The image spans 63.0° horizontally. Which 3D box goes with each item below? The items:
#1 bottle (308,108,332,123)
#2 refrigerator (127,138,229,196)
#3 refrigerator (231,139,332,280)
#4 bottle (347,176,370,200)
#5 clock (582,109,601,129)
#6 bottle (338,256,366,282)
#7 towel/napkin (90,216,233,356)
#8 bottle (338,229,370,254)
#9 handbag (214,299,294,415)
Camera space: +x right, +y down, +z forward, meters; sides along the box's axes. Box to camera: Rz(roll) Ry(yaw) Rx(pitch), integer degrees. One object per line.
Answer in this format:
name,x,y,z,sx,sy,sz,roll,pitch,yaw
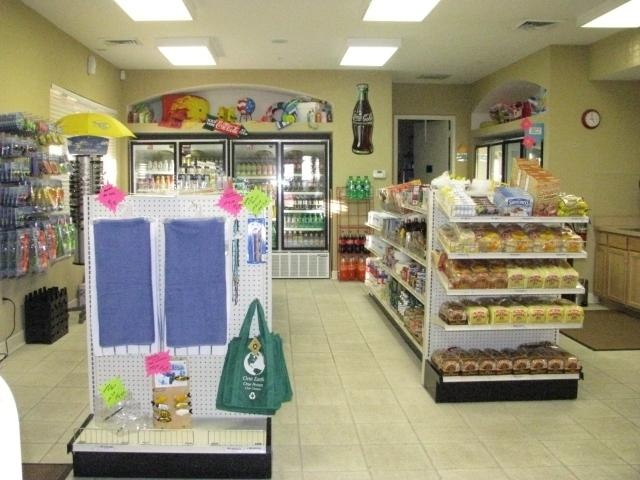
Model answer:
bottle,-0.028,-2.159,9.126,0.299,0.234,0.101,1,11,-5
refrigerator,-2.150,-1.106,7.739,1.444,0.743,0.408,0,-4,5
refrigerator,-0.629,-0.568,9.343,1.580,2.457,0.626,0,11,-1
bottle,0.656,-0.897,9.098,0.436,0.364,0.143,0,-3,-6
clock,3.808,-1.707,7.400,0.280,0.252,0.062,1,6,-8
bottle,0.558,0.506,9.200,0.454,0.550,0.196,2,9,1
towel/napkin,-1.129,0.309,3.676,1.113,0.989,0.120,0,5,0
bottle,0.572,0.053,9.234,0.489,0.426,0.403,1,-4,-3
handbag,-0.489,0.854,3.771,0.533,0.790,0.271,-1,11,-5
